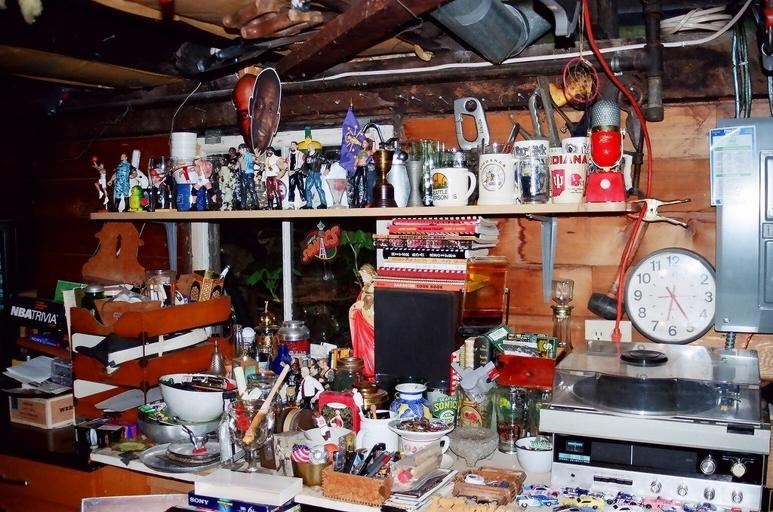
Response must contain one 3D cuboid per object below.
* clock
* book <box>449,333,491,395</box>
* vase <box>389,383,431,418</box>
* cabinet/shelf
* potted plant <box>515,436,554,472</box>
[{"bbox_3d":[1.236,0.178,2.927,0.072,0.415,0.426,7,-5,-43],"label":"clock"},{"bbox_3d":[0.365,0.464,2.966,0.227,0.225,0.068,-18,-37,30],"label":"book"},{"bbox_3d":[0.128,0.629,2.845,0.104,0.095,0.103,-19,17,-39],"label":"vase"},{"bbox_3d":[-1.132,0.445,3.376,0.586,0.461,0.647,3,9,39],"label":"cabinet/shelf"},{"bbox_3d":[0.590,0.785,2.687,0.138,0.083,0.139,1,-7,-9],"label":"potted plant"}]
